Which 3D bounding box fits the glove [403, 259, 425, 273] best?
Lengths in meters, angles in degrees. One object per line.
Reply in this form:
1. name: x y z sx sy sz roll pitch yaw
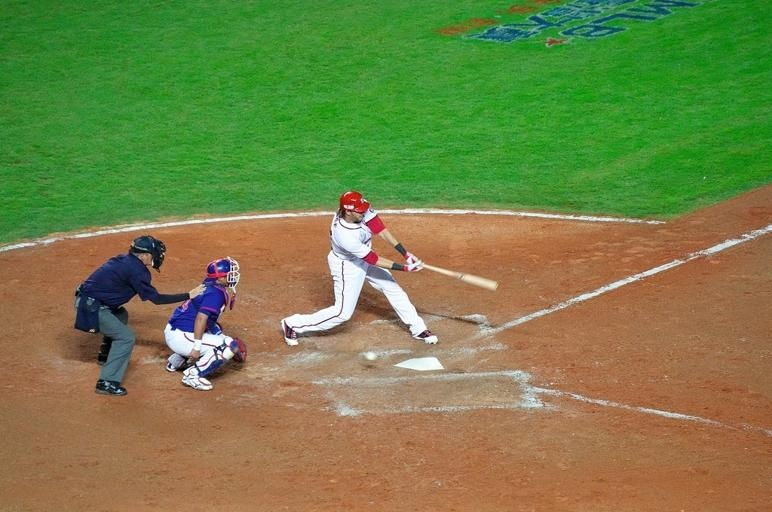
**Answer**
1. glove: 0.491 0.197 17.754 0.262 0.081 0.345 22 30 38
